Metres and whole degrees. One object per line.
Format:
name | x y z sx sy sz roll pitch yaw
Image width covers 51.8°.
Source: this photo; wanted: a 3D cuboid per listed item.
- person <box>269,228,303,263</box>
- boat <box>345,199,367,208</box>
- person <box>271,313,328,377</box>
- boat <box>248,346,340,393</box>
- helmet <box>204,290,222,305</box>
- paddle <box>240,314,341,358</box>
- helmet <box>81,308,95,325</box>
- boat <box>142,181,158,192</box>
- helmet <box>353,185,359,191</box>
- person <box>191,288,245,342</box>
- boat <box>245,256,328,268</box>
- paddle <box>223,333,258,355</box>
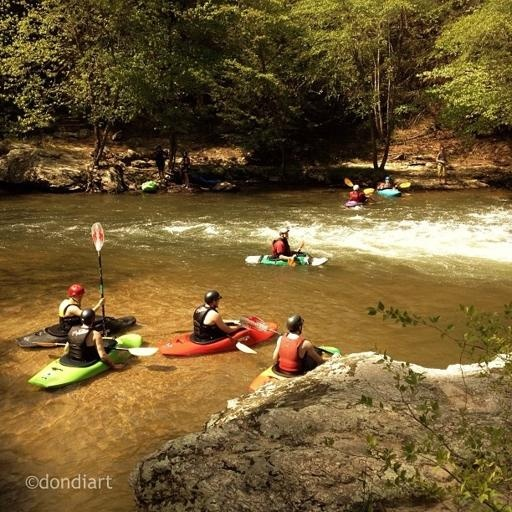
person | 0.954 -0.302 16.977 1.023 1.320 0.900 -9 27 -5
boat | 4.913 -2.559 25.720 0.581 0.346 1.663 4 9 32
person | 0.605 1.363 8.231 0.771 0.908 0.461 6 13 36
boat | 0.678 1.900 8.772 0.712 0.269 1.426 11 19 43
helmet | -0.810 0.776 9.774 0.262 0.264 0.239 -3 10 -9
paddle | 0.627 1.515 9.902 1.319 0.267 1.183 3 1 20
helmet | -2.803 1.022 8.802 0.213 0.312 0.251 -5 10 -17
boat | -6.186 -4.048 31.138 0.793 0.368 0.799 4 5 19
helmet | 4.818 -3.282 25.529 0.403 0.172 0.456 -18 6 10
person | -0.799 1.119 10.123 1.214 0.658 0.741 -14 29 -35
boat | 0.943 0.154 15.895 2.585 0.327 0.716 0 5 -2
paddle | -0.334 1.700 10.038 0.198 0.119 1.013 10 2 -33
